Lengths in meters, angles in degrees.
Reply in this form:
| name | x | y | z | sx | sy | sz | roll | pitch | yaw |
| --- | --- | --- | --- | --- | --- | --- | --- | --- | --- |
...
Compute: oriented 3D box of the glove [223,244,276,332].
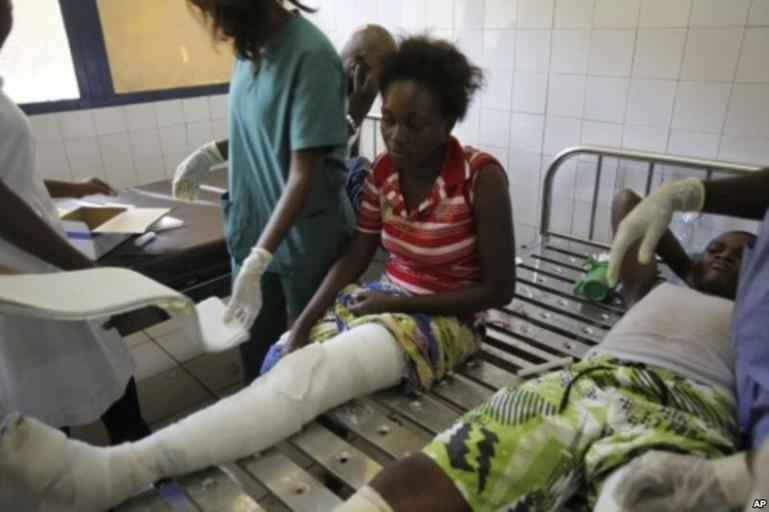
| name | x | y | z | sx | sy | sz | roll | pitch | yaw |
| --- | --- | --- | --- | --- | --- | --- | --- | --- | --- |
| glove | -0.502 | 0.127 | 1.923 | 0.093 | 0.287 | 0.286 | 24 | 64 | 1 |
